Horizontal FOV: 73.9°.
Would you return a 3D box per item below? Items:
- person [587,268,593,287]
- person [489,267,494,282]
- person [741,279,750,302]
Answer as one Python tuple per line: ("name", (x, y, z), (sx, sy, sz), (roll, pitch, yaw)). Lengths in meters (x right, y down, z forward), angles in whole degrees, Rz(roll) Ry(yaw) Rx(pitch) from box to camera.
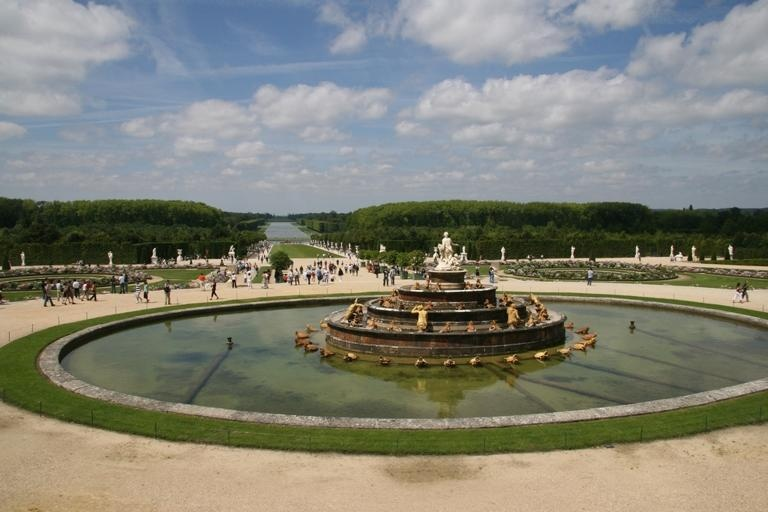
("person", (16.117, 1.673, 39.845), (0.342, 1.126, 1.017), (3, 8, 19))
("person", (8.949, 1.530, 42.457), (0.484, 1.116, 1.199), (-5, 8, -4))
("person", (21.661, 2.069, 30.557), (0.424, 1.068, 1.480), (6, 9, 35))
